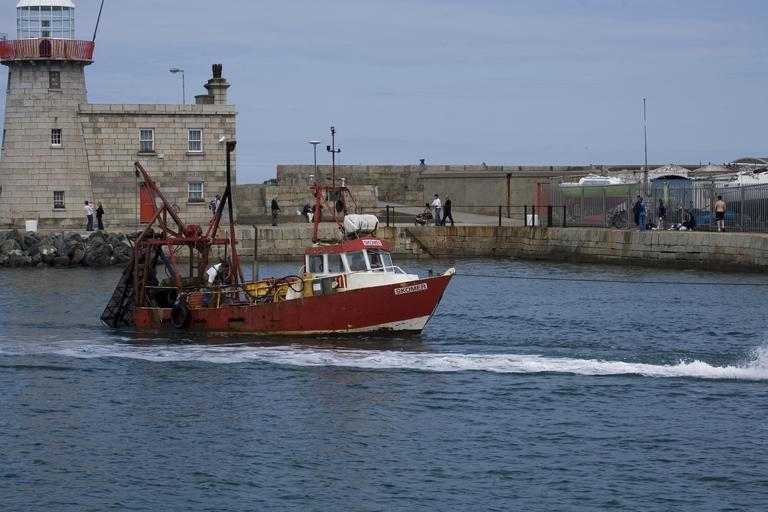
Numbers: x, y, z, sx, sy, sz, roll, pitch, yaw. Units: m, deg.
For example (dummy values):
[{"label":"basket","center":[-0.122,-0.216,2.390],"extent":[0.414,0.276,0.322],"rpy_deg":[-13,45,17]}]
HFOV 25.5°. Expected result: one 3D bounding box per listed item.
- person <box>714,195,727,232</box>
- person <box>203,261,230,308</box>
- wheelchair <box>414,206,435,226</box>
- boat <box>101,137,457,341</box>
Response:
[{"label":"person","center":[12.693,-1.604,64.388],"extent":[0.394,1.369,0.885],"rpy_deg":[1,8,8]},{"label":"person","center":[-5.389,0.744,53.458],"extent":[0.435,0.922,0.376],"rpy_deg":[-10,-11,-17]},{"label":"wheelchair","center":[1.706,-1.594,74.895],"extent":[0.525,0.606,1.233],"rpy_deg":[1,-9,-14]},{"label":"boat","center":[-1.292,0.362,54.212],"extent":[14.876,6.091,4.851],"rpy_deg":[-1,1,19]}]
